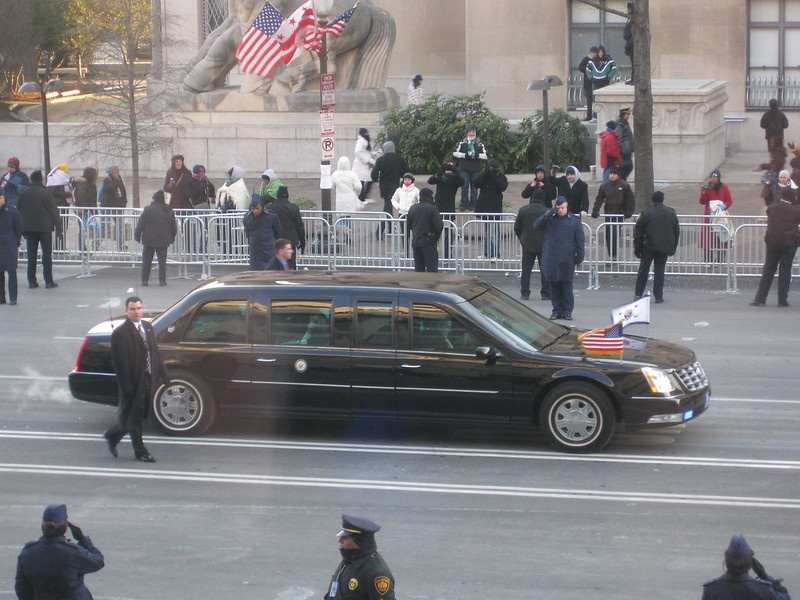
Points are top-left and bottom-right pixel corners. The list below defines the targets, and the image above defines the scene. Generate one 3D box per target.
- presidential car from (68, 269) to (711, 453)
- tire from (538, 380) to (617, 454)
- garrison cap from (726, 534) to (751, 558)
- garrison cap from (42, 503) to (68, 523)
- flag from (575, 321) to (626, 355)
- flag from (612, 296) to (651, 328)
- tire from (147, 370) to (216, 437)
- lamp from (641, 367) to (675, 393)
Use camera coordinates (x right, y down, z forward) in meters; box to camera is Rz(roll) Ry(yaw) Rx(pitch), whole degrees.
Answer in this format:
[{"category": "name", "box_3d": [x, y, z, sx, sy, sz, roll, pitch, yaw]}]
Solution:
[{"category": "presidential car", "box_3d": [-0.339, 1.194, 36.366, 11.112, 2.642, 3.623, -1, 4, 11]}, {"category": "tire", "box_3d": [2.821, 1.920, 35.023, 1.178, 1.154, 0.407, -1, 7, 5]}, {"category": "garrison cap", "box_3d": [4.683, 3.545, 30.381, 0.373, 0.276, 0.300, -6, 8, -44]}, {"category": "garrison cap", "box_3d": [-4.882, 3.145, 31.001, 0.316, 0.232, 0.236, -2, 6, -16]}, {"category": "flag", "box_3d": [3.255, 0.707, 35.695, 0.540, 0.457, 0.098, 2, 10, 18]}, {"category": "flag", "box_3d": [3.864, 0.279, 36.640, 0.675, 0.747, 0.131, -2, 43, -14]}, {"category": "tire", "box_3d": [-3.544, 1.735, 35.701, 1.030, 1.011, 0.359, 7, 6, 8]}, {"category": "lamp", "box_3d": [4.097, 1.376, 34.938, 0.508, 0.437, 0.161, 1, 6, 8]}]
